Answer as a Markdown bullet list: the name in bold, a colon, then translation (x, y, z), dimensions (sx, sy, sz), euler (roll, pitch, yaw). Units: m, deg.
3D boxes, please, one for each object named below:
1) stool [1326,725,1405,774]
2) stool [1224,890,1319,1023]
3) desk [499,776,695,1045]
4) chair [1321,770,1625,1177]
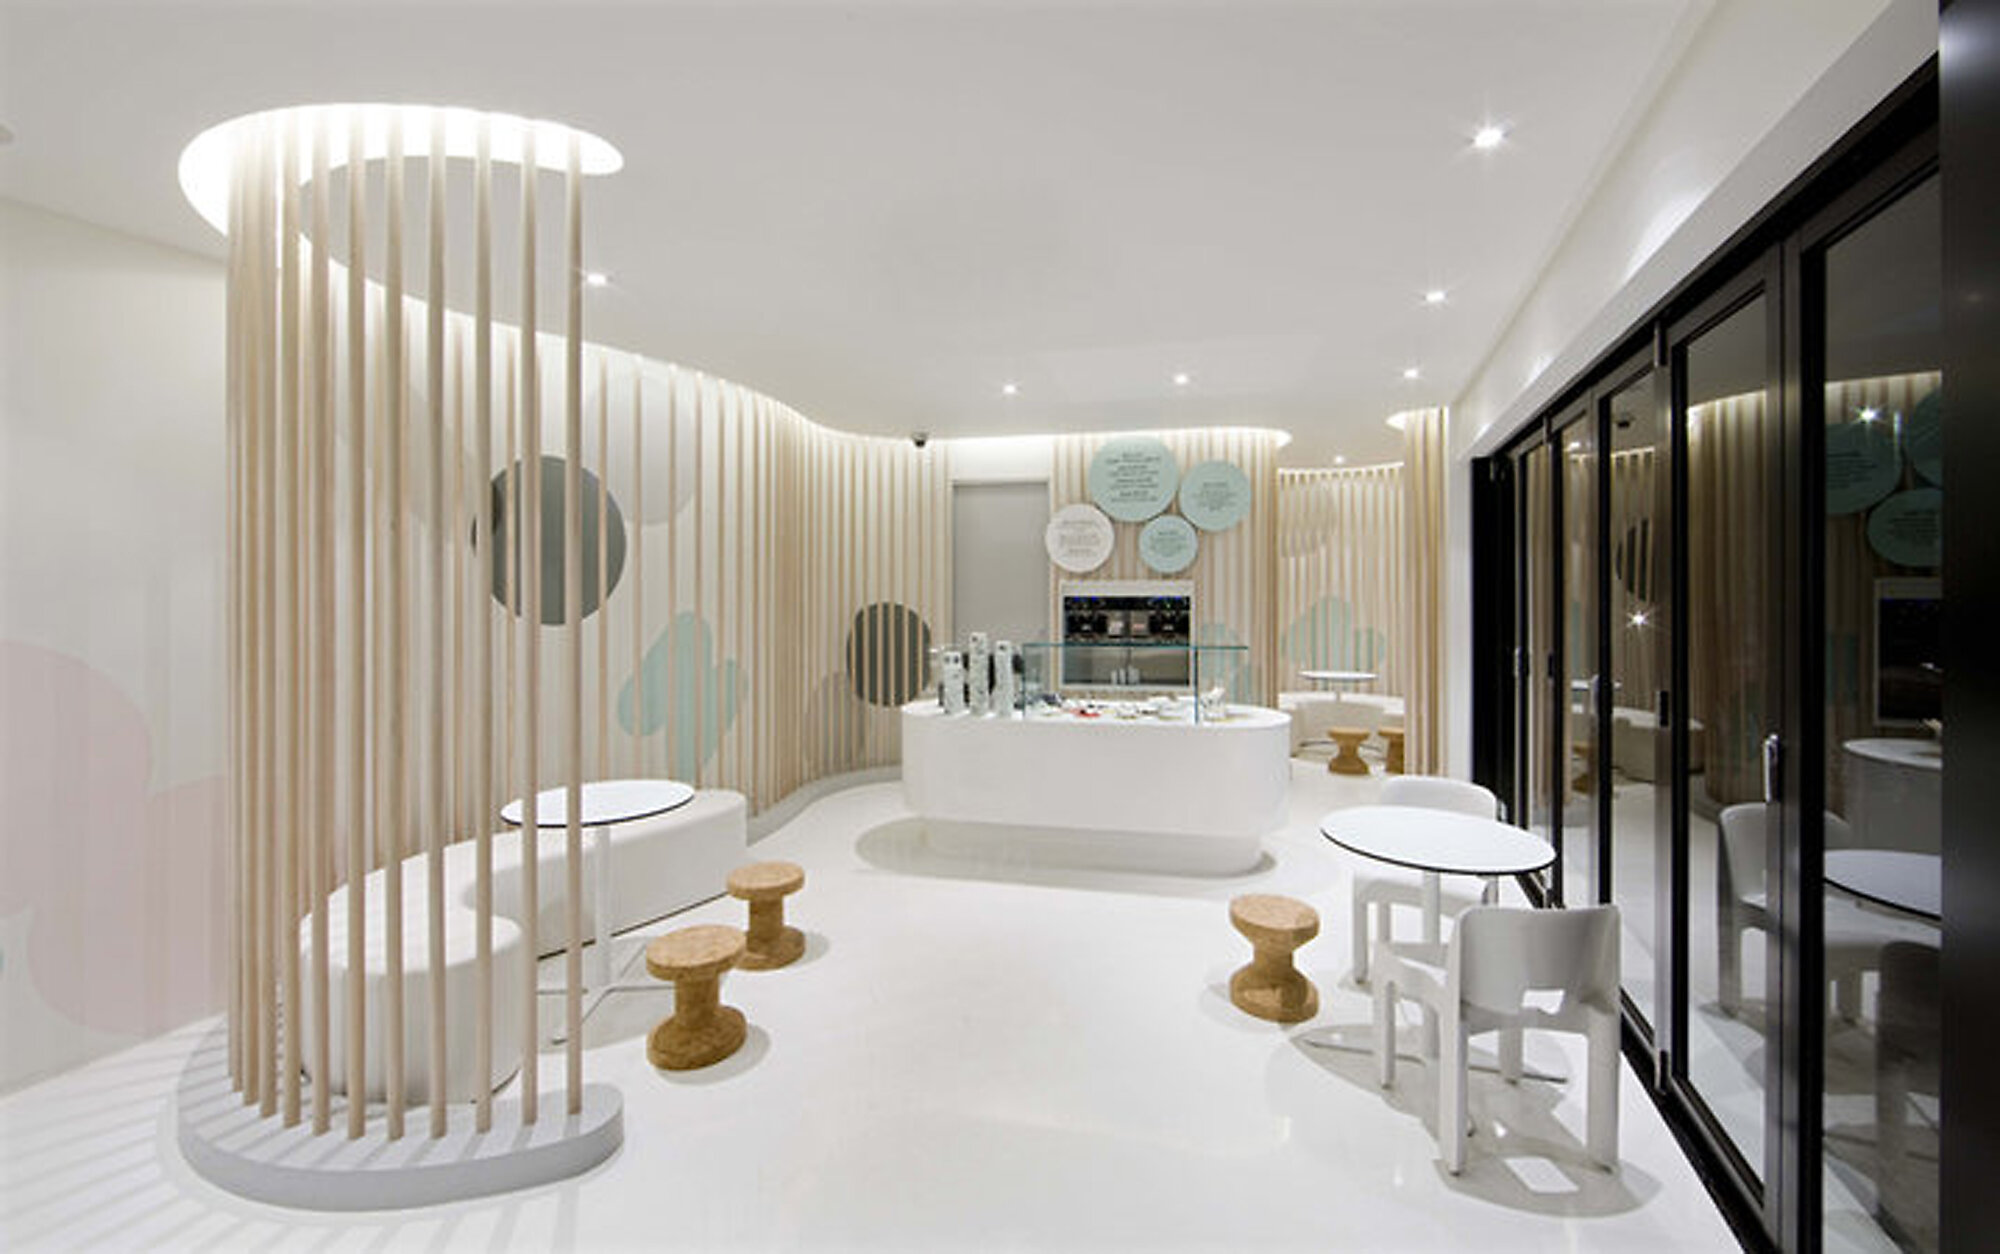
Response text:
- **stool**: translation (2.749, 0.875, 9.585), dimensions (0.518, 0.382, 0.876), euler (3, 13, 13)
- **stool**: translation (1.188, 1.434, 5.587), dimensions (0.491, 0.442, 0.432), euler (0, 3, -33)
- **desk**: translation (-1.670, 1.200, 5.792), dimensions (1.110, 1.127, 1.038), euler (-1, 7, -28)
- **chair**: translation (1.838, 1.347, 5.139), dimensions (1.058, 1.610, 1.178), euler (1, -7, -4)
